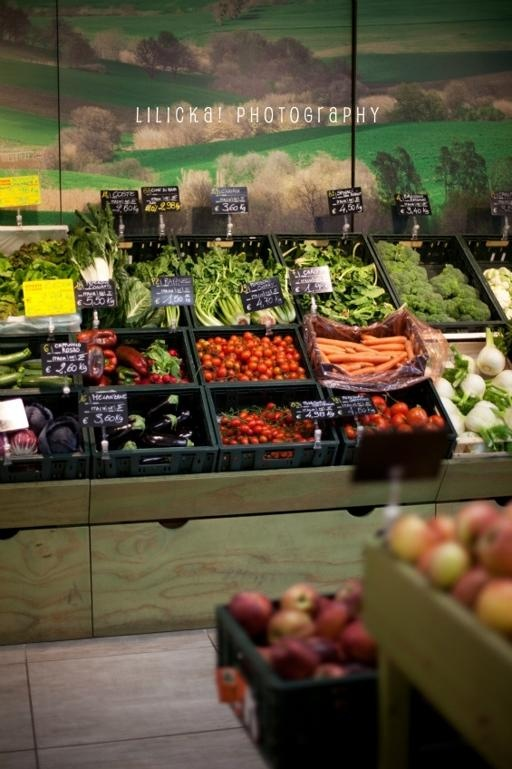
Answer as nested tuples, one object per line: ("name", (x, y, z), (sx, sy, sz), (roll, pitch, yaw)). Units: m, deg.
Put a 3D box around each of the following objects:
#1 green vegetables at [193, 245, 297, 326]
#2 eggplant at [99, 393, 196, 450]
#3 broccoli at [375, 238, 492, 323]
("green vegetables", (-0.144, -0.660, 4.066), (0.711, 0.530, 0.593), (-10, 23, -23))
("eggplant", (-0.550, 0.226, 3.116), (0.391, 0.132, 0.291), (-12, 52, -10))
("broccoli", (1.260, -0.802, 4.297), (0.574, 0.253, 0.784), (-4, 54, -23))
